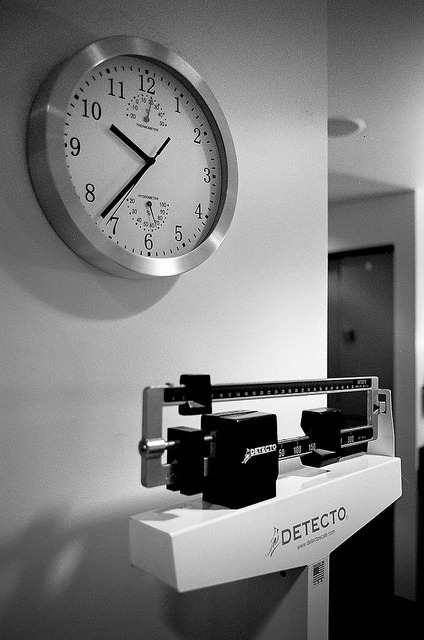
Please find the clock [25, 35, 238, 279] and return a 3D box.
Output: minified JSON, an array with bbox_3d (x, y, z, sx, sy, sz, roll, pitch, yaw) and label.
[{"bbox_3d":[-0.112,-0.272,0.958,0.066,0.395,0.422,3,5,42],"label":"clock"}]
